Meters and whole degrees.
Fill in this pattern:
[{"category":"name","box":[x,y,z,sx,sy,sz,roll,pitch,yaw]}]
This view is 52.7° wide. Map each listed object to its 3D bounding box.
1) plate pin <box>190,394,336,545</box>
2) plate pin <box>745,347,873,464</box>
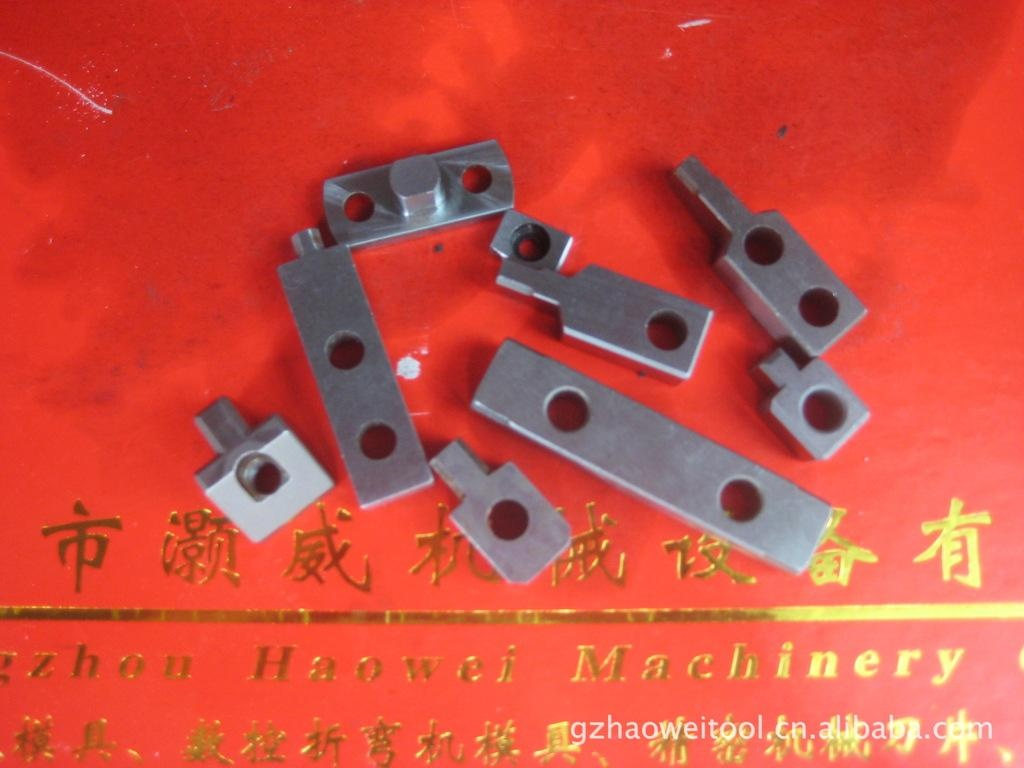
[{"category":"plate pin","box":[-0.359,0.123,1.504,0.201,0.156,0.127,0,-51,-8]},{"category":"plate pin","box":[0.430,0.028,1.487,0.124,0.058,0.179,-43,-103,10]}]
